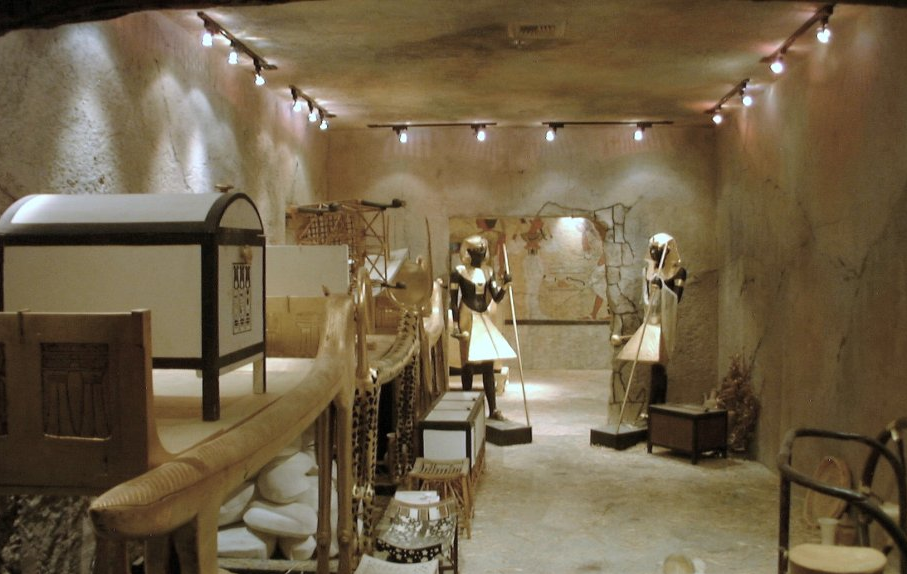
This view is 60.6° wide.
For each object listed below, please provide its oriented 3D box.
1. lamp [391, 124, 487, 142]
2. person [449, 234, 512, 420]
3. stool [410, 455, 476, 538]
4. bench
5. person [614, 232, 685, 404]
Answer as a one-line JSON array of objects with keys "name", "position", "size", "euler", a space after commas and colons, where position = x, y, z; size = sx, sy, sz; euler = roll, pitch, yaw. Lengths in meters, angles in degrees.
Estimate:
[{"name": "lamp", "position": [-0.184, -2.014, 10.181], "size": [1.413, 0.262, 0.769], "euler": [3, 7, 19]}, {"name": "person", "position": [0.308, 0.447, 8.601], "size": [0.690, 2.013, 0.815], "euler": [1, 8, -1]}, {"name": "stool", "position": [-0.127, 1.602, 6.101], "size": [0.542, 0.554, 0.663], "euler": [0, 1, 39]}, {"name": "bench", "position": [2.408, 1.368, 8.005], "size": [0.538, 0.591, 0.790], "euler": [3, -4, -32]}, {"name": "person", "position": [2.224, 0.477, 8.850], "size": [0.679, 2.159, 0.931], "euler": [2, 8, 7]}]
